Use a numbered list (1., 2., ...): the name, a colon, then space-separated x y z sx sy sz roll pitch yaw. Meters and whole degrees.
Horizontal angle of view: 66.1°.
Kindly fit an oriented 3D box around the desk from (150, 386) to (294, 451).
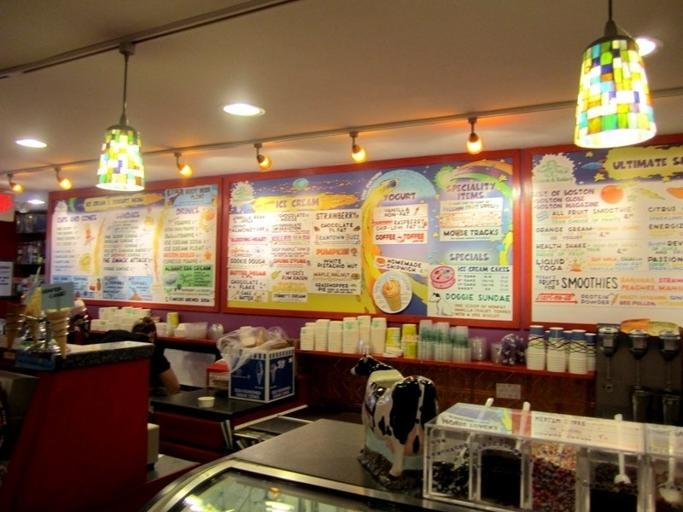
1. desk: -0.881 1.193 4.083 0.597 0.269 0.568 -3 -7 36

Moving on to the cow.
1. cow: 0.229 0.696 2.281 0.284 0.464 0.463 -7 -1 -14

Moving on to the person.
1. person: -1.727 0.910 4.871 0.320 0.560 1.273 -7 0 -20

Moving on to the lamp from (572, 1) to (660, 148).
1. lamp: 1.025 -0.666 2.042 0.272 0.568 0.241 -9 -2 19

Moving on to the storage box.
1. storage box: -0.621 0.968 4.381 0.538 0.349 0.504 -4 -7 34

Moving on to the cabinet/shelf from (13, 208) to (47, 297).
1. cabinet/shelf: -4.388 -0.058 7.405 0.519 0.955 0.919 -7 -1 -31
